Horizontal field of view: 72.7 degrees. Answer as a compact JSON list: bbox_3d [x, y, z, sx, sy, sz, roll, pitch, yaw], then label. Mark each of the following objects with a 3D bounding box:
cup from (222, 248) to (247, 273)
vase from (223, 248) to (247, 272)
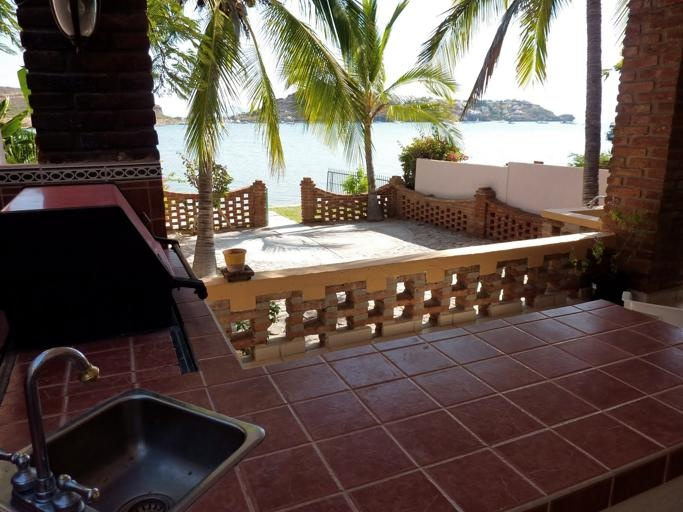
[{"bbox_3d":[-0.746,0.023,3.247,0.156,0.124,0.166,0,13,0],"label":"cup"},{"bbox_3d":[-0.740,0.014,3.239,0.157,0.124,0.165,0,14,-3],"label":"vase"}]
